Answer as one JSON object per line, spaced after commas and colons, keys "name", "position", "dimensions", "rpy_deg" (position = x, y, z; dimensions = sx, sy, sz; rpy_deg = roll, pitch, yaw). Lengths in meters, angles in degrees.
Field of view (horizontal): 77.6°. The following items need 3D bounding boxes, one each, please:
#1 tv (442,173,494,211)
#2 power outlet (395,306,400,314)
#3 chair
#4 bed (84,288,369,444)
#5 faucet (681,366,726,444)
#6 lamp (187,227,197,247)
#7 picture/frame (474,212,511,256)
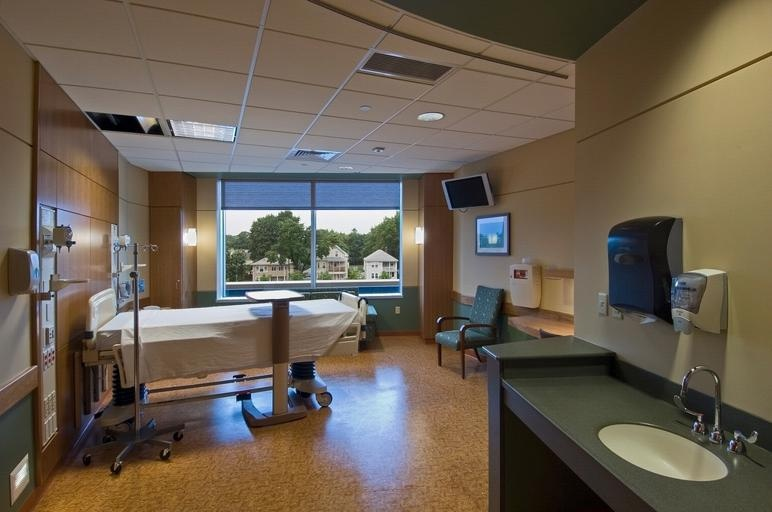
{"name": "tv", "position": [1.235, -0.935, 7.137], "dimensions": [0.293, 0.545, 0.911], "rpy_deg": [-7, 12, -32]}
{"name": "power outlet", "position": [0.198, 0.976, 8.592], "dimensions": [0.136, 0.187, 0.019], "rpy_deg": [1, -1, -12]}
{"name": "chair", "position": [1.174, 1.040, 6.737], "dimensions": [0.930, 1.132, 0.936], "rpy_deg": [0, 2, 8]}
{"name": "bed", "position": [-1.685, 1.088, 5.007], "dimensions": [2.405, 1.414, 0.709], "rpy_deg": [-5, 11, -24]}
{"name": "faucet", "position": [1.915, 0.864, 2.889], "dimensions": [0.249, 0.466, 0.355], "rpy_deg": [7, 12, 32]}
{"name": "lamp", "position": [-3.199, -0.273, 7.844], "dimensions": [0.118, 0.325, 0.308], "rpy_deg": [-2, 11, -10]}
{"name": "picture/frame", "position": [1.518, -0.278, 6.905], "dimensions": [0.692, 0.594, 0.054], "rpy_deg": [-4, 6, -32]}
